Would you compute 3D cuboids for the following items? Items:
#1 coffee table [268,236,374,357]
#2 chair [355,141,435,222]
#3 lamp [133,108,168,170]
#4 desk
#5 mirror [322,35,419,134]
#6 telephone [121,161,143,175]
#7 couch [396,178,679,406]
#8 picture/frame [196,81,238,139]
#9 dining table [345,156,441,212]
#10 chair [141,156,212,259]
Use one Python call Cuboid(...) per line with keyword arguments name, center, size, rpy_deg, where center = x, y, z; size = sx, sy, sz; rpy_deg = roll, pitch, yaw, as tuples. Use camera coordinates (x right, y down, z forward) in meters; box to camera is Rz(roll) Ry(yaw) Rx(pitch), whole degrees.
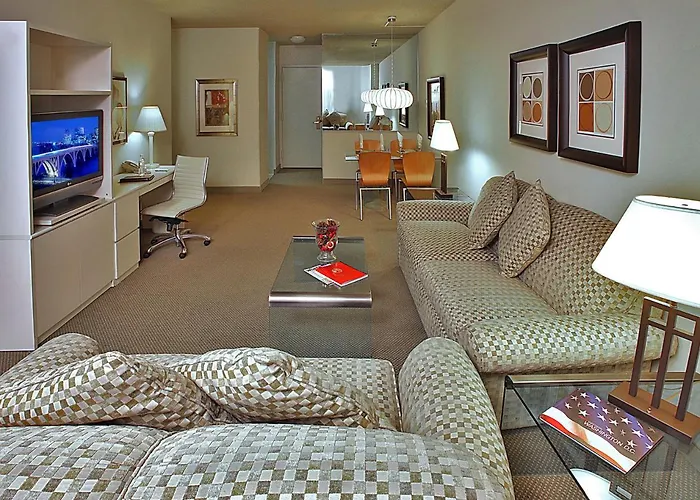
Cuboid(name="coffee table", center=(-0.198, 0.571, 3.404), size=(0.601, 0.762, 1.153), rpy_deg=(0, 19, 0))
Cuboid(name="chair", center=(0.708, -1.242, 7.640), size=(1.285, 0.738, 1.333), rpy_deg=(-1, 17, 2))
Cuboid(name="lamp", center=(-2.966, -1.661, 6.758), size=(0.507, 0.830, 0.523), rpy_deg=(1, 17, -12))
Cuboid(name="desk", center=(-2.287, -0.275, 5.165), size=(0.382, 0.503, 1.368), rpy_deg=(-1, 21, -6))
Cuboid(name="mirror", center=(0.668, -3.493, 10.098), size=(2.375, 2.460, 0.046), rpy_deg=(-14, 12, -26))
Cuboid(name="telephone", center=(-2.867, -1.060, 5.940), size=(0.246, 0.109, 0.269), rpy_deg=(-11, 30, -20))
Cuboid(name="couch", center=(1.037, 0.230, 2.502), size=(0.504, 0.559, 1.357), rpy_deg=(2, 17, 1))
Cuboid(name="picture/frame", center=(-2.659, -2.825, 8.968), size=(0.970, 1.354, 0.137), rpy_deg=(0, 6, -6))
Cuboid(name="dining table", center=(0.711, -0.886, 7.631), size=(1.614, 1.208, 0.948), rpy_deg=(0, 23, 3))
Cuboid(name="chair", center=(-2.182, -0.547, 5.601), size=(0.706, 1.129, 0.805), rpy_deg=(8, 15, 17))
